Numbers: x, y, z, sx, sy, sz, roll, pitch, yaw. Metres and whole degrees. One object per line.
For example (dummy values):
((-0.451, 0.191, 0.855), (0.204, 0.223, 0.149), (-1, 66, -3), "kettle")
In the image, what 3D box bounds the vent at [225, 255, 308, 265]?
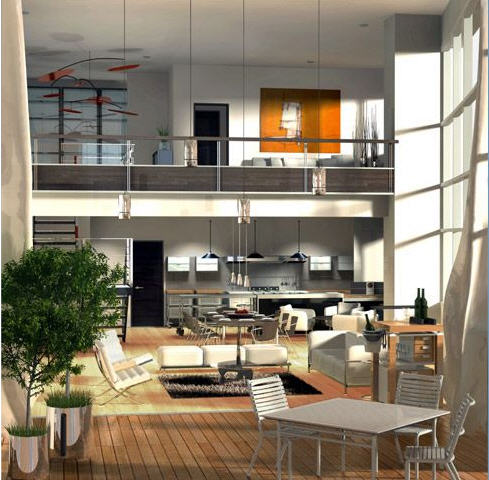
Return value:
((0.480, 0.527, 17.320), (2.018, 0.231, 0.806), (-2, 0, 2), "vent")

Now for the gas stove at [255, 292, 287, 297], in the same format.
((0.632, 1.307, 15.795), (0.817, 0.142, 0.440), (-1, 0, -10), "gas stove")

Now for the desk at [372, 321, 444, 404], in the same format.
((2.057, 1.411, 8.009), (0.644, 1.122, 0.797), (-1, 16, 4), "desk")

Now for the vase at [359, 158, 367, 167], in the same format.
((2.276, -1.485, 12.636), (0.094, 0.165, 0.050), (-3, -2, 27), "vase")

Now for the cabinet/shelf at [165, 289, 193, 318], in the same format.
((-1.638, 1.626, 16.788), (0.516, 0.677, 0.338), (0, 4, -1), "cabinet/shelf")

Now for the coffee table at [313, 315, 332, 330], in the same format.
((1.863, 2.025, 15.962), (0.379, 0.586, 0.398), (4, -6, -12), "coffee table")

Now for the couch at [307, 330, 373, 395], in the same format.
((1.381, 1.717, 9.821), (0.557, 0.811, 1.739), (-1, 0, -8), "couch")

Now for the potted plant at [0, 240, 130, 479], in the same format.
((-1.687, 1.038, 5.899), (1.041, 2.086, 0.999), (-1, 0, -13), "potted plant")

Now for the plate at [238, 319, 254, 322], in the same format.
((0.032, 1.170, 9.540), (0.206, 0.051, 0.127), (-1, 0, -2), "plate")
